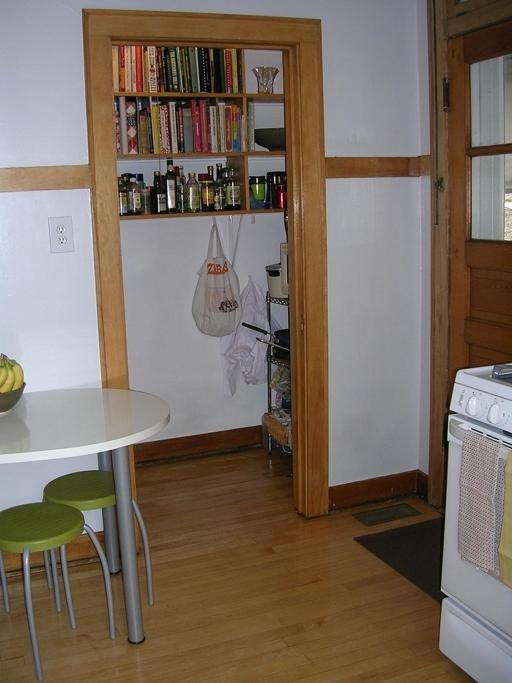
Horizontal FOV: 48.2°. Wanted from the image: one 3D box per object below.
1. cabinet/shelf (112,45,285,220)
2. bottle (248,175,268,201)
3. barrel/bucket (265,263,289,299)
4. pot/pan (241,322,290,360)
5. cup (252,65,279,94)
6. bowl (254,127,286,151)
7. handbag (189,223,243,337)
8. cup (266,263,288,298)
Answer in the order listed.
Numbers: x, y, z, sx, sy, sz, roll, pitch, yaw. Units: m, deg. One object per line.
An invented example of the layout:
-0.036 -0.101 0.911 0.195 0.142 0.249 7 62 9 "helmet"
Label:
-0.320 -1.142 2.985 0.845 0.788 0.264 -17 31 -39 "cabinet/shelf"
0.011 -0.822 3.049 0.117 0.128 0.115 -11 20 -26 "bottle"
0.110 -0.315 2.967 0.159 0.130 0.151 -1 15 0 "barrel/bucket"
0.042 -0.007 3.108 0.251 0.181 0.169 -5 14 -16 "pot/pan"
0.043 -1.366 2.995 0.148 0.116 0.150 -1 23 1 "cup"
0.083 -1.099 3.121 0.216 0.100 0.221 0 15 0 "bowl"
-0.235 -0.362 3.373 0.285 0.690 0.127 -1 6 -2 "handbag"
0.115 -0.321 2.965 0.159 0.130 0.149 -1 17 0 "cup"
